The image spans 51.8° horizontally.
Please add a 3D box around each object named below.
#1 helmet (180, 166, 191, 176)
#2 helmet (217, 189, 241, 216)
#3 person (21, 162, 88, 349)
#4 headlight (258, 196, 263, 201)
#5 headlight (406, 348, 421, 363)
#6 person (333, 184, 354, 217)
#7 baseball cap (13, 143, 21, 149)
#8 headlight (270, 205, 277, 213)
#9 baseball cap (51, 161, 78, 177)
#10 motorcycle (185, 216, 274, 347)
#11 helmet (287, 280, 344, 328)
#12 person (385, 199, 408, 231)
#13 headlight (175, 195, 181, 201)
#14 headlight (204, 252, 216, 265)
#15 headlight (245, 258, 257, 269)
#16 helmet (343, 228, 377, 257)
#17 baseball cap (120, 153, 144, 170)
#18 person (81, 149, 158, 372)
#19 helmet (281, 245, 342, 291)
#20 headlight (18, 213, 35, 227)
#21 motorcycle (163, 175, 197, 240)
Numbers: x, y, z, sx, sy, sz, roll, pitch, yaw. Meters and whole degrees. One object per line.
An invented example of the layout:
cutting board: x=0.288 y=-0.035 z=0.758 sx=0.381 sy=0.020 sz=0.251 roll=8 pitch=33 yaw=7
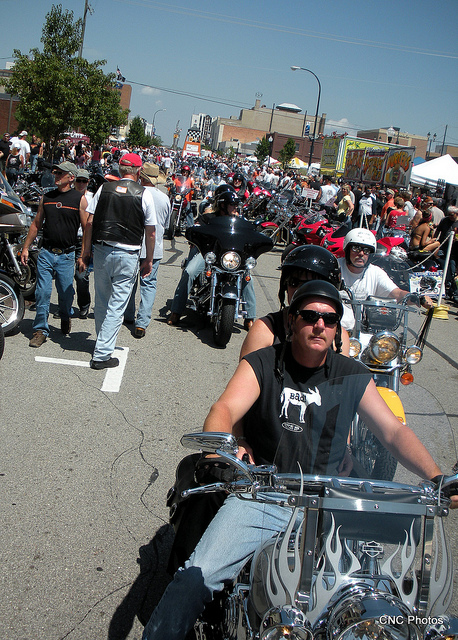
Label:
helmet: x=-1.359 y=-4.660 z=14.711 sx=0.212 sy=0.214 sz=0.250 roll=2 pitch=-6 yaw=-3
helmet: x=-0.030 y=-1.648 z=6.705 sx=0.349 sy=0.348 sz=0.300 roll=21 pitch=25 yaw=40
person: x=-2.059 y=-0.794 z=5.618 sx=0.639 sy=2.117 sz=0.739 roll=3 pitch=16 yaw=-22
headlight: x=1.155 y=-4.370 z=16.890 sx=0.166 sy=0.039 sz=0.158 roll=3 pitch=-12 yaw=-15
headlight: x=1.406 y=0.271 z=3.556 sx=0.113 sy=0.112 sz=0.046 roll=2 pitch=16 yaw=-21
person: x=4.363 y=-4.380 z=17.220 sx=0.566 sy=1.039 sz=1.219 roll=11 pitch=14 yaw=10
baseball cap: x=-8.559 y=-6.954 z=18.905 sx=0.246 sy=0.056 sz=0.242 roll=-10 pitch=37 yaw=-33
headlight: x=1.383 y=-3.444 z=14.546 sx=0.203 sy=0.211 sz=0.132 roll=8 pitch=14 yaw=1
baseball cap: x=-1.910 y=-1.786 z=5.558 sx=0.179 sy=0.129 sz=0.268 roll=16 pitch=-1 yaw=42
motorcycle: x=-0.095 y=-0.569 z=6.667 sx=0.977 sy=1.777 sz=0.817 roll=18 pitch=17 yaw=33
helmet: x=0.359 y=-0.060 z=1.926 sx=0.210 sy=0.208 sz=0.206 roll=9 pitch=14 yaw=3
person: x=5.346 y=-3.278 z=14.618 sx=0.549 sy=0.869 sz=1.549 roll=9 pitch=14 yaw=3
headlight: x=-1.494 y=-3.606 z=13.895 sx=0.184 sy=0.165 sz=0.051 roll=1 pitch=-5 yaw=-4
headlight: x=-0.246 y=-0.839 z=6.433 sx=0.170 sy=0.163 sz=0.140 roll=5 pitch=14 yaw=-12
headlight: x=0.326 y=-0.788 z=6.543 sx=0.097 sy=0.135 sz=0.131 roll=20 pitch=18 yaw=38
helmet: x=1.215 y=-0.715 z=4.308 sx=0.293 sy=0.228 sz=0.282 roll=10 pitch=14 yaw=10
baseball cap: x=-1.065 y=-1.709 z=5.114 sx=0.206 sy=0.136 sz=0.318 roll=12 pitch=13 yaw=13
person: x=-1.199 y=-0.491 z=5.153 sx=0.754 sy=2.039 sz=0.612 roll=2 pitch=16 yaw=-24
helmet: x=0.532 y=-0.345 z=2.910 sx=0.336 sy=0.252 sz=0.261 roll=-9 pitch=25 yaw=-33
headlight: x=-2.668 y=-1.310 z=6.210 sx=0.161 sy=0.165 sz=0.312 roll=-4 pitch=-15 yaw=-16
motorcycle: x=-1.518 y=-3.453 z=14.471 sx=0.582 sy=1.984 sz=1.213 roll=7 pitch=14 yaw=-8
